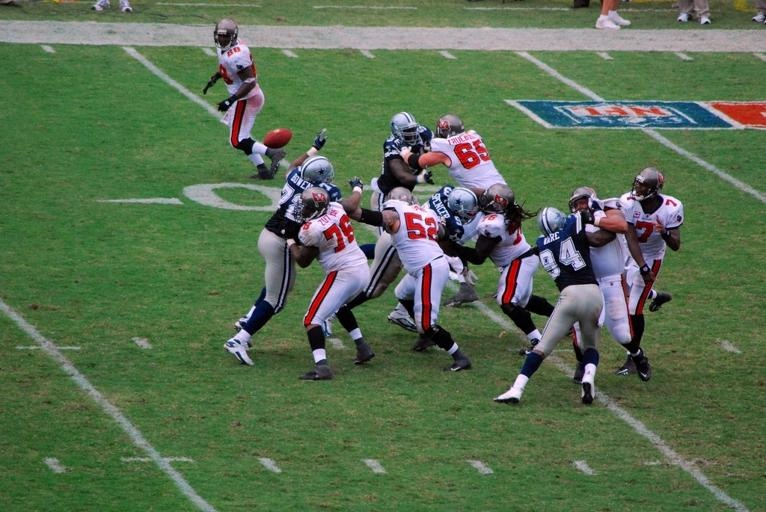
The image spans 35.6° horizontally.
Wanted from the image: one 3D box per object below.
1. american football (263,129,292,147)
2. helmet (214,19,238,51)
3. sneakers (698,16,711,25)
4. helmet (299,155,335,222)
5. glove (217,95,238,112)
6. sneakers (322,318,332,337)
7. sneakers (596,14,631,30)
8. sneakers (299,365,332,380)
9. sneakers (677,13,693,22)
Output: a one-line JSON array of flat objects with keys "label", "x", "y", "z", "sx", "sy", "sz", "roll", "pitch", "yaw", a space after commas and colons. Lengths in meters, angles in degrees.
[{"label": "american football", "x": -1.270, "y": -1.454, "z": 14.937, "sx": 0.413, "sy": 0.181, "sz": 0.244, "roll": -12, "pitch": 9, "yaw": -2}, {"label": "helmet", "x": -2.056, "y": -3.030, "z": 16.157, "sx": 0.397, "sy": 0.369, "sz": 0.418, "roll": 3, "pitch": 44, "yaw": 4}, {"label": "sneakers", "x": 6.190, "y": -4.509, "z": 22.934, "sx": 0.213, "sy": 0.156, "sz": 0.295, "roll": 6, "pitch": 15, "yaw": 11}, {"label": "helmet", "x": -0.676, "y": -0.726, "z": 12.405, "sx": 0.483, "sy": 0.585, "sz": 0.300, "roll": 15, "pitch": 10, "yaw": -7}, {"label": "glove", "x": -2.061, "y": -2.022, "z": 15.965, "sx": 0.287, "sy": 0.084, "sz": 0.193, "roll": -25, "pitch": 6, "yaw": 7}, {"label": "sneakers", "x": -0.576, "y": 0.769, "z": 12.873, "sx": 0.090, "sy": 0.202, "sz": 0.118, "roll": 5, "pitch": -3, "yaw": -39}, {"label": "sneakers", "x": 4.423, "y": -4.382, "z": 22.479, "sx": 0.733, "sy": 0.229, "sz": 0.209, "roll": -5, "pitch": 36, "yaw": -6}, {"label": "sneakers", "x": -0.720, "y": 1.193, "z": 12.277, "sx": 0.416, "sy": 0.132, "sz": 0.127, "roll": 1, "pitch": 18, "yaw": 7}, {"label": "sneakers", "x": 5.847, "y": -4.603, "z": 23.136, "sx": 0.168, "sy": 0.090, "sz": 0.325, "roll": 1, "pitch": 11, "yaw": -7}]
